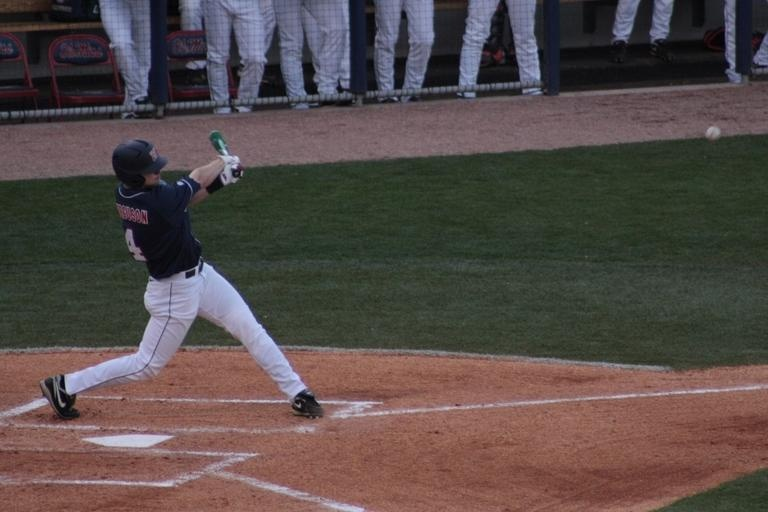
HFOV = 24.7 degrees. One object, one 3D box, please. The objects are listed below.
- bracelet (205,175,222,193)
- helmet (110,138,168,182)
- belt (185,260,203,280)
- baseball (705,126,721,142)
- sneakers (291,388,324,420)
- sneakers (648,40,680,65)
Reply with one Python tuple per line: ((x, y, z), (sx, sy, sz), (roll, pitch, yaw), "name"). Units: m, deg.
((-1.636, -0.686, 16.901), (0.180, 0.128, 0.080), (-37, -4, -2), "bracelet")
((-2.328, -0.909, 16.632), (0.512, 0.345, 0.356), (-9, 32, -6), "helmet")
((-1.809, 0.138, 16.644), (0.046, 0.142, 0.210), (13, 19, 42), "belt")
((4.060, -1.505, 21.494), (0.191, 0.101, 0.178), (-19, 21, -22), "baseball")
((-0.751, 1.450, 16.945), (0.417, 0.223, 0.196), (7, 17, 26), "sneakers")
((4.136, -3.075, 26.334), (0.225, 0.221, 0.585), (-6, 14, -14), "sneakers")
